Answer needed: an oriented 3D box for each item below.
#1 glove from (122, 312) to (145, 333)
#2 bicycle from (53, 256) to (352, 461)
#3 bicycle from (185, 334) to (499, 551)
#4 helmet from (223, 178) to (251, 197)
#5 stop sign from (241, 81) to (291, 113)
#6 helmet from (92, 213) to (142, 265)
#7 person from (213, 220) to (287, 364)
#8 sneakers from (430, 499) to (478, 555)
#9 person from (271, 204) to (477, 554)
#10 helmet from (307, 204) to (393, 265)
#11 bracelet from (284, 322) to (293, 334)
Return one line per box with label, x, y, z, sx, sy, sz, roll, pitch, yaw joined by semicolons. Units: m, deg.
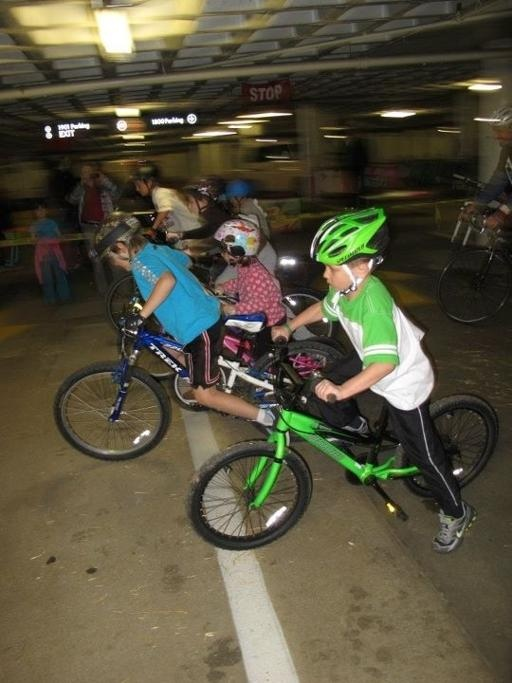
glove;-0.832;-0.120;3.677;0.178;0.152;0.098;1;13;-2
bicycle;-0.323;0.199;4.439;2.504;1.278;1.130;-9;24;-20
bicycle;0.541;0.551;3.323;2.095;1.048;0.951;-8;14;-17
helmet;-0.205;-1.661;5.935;0.300;0.180;0.262;1;25;13
stop sign;0.195;-5.164;11.286;1.078;0.452;0.467;-1;25;8
helmet;-0.905;-0.703;3.617;0.332;0.186;0.256;-51;10;-33
person;-0.080;-0.307;4.147;0.697;1.120;0.515;1;20;4
sneakers;1.050;1.018;2.987;0.203;0.357;0.138;18;7;-15
person;0.528;0.233;2.735;1.092;1.678;0.854;19;32;39
helmet;0.438;-0.470;2.475;0.391;0.235;0.263;-10;25;-12
bracelet;0.167;-0.071;3.047;0.021;0.054;0.050;-26;-11;5
